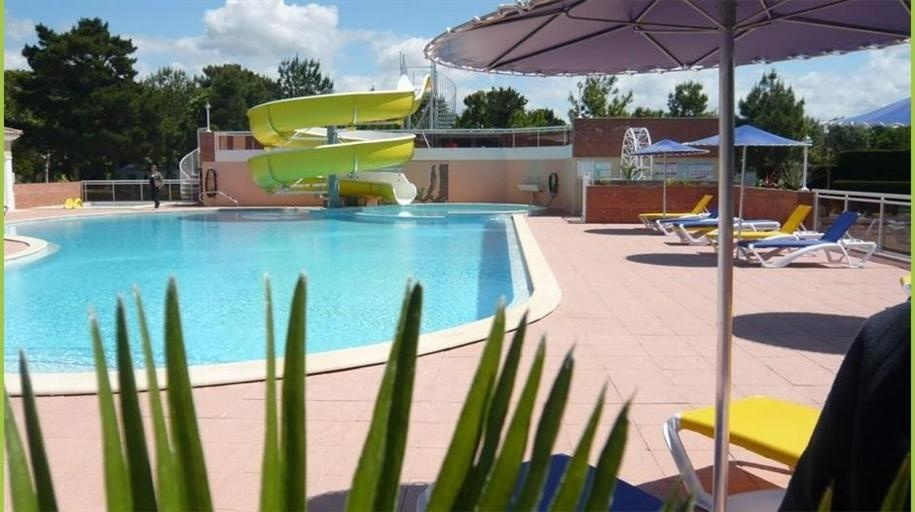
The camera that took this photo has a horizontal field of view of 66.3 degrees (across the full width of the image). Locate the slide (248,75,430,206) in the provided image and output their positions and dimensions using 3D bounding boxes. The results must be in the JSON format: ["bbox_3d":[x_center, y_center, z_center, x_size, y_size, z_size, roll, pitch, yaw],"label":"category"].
[{"bbox_3d":[-3.543,-3.853,23.324,6.414,4.206,4.970,3,1,-27],"label":"slide"}]
